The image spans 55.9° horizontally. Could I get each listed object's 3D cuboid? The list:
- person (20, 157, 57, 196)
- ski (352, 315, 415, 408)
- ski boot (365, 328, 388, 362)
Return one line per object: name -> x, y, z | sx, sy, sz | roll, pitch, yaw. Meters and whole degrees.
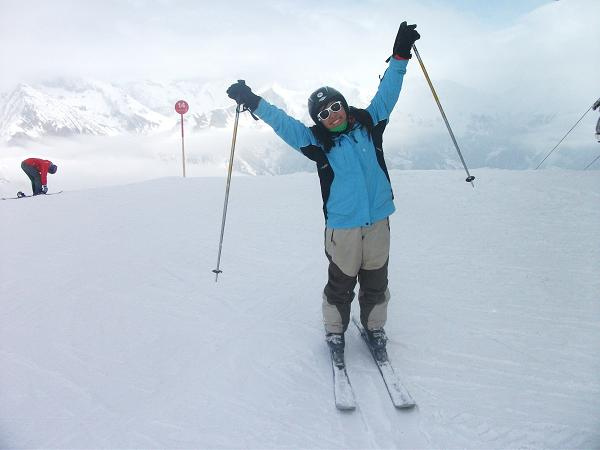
person -> -7.097, -1.294, 15.328 | 0.767, 1.026, 0.840 | 13, 10, 39
ski -> 1.068, 1.676, 7.778 | 0.290, 0.153, 2.104 | -2, 30, -14
ski boot -> 1.030, 1.593, 7.587 | 0.151, 0.188, 0.490 | -2, 19, -2
